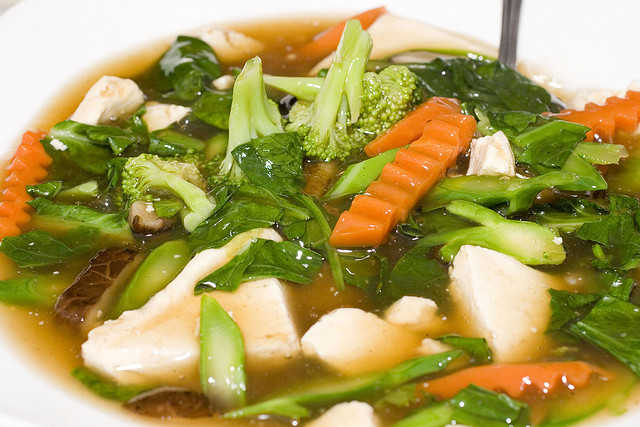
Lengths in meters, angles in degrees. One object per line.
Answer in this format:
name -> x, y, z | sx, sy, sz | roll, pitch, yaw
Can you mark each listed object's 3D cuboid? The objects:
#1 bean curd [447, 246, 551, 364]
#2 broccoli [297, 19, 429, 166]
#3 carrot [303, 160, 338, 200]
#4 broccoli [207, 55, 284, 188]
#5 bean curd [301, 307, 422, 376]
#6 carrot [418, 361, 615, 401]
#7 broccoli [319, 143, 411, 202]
bean curd -> 0.735, 0.400, 2.284 | 0.488, 0.195, 0.330 | -23, 18, 19
broccoli -> 0.092, -0.609, 2.914 | 0.598, 0.743, 0.673 | 17, 27, 42
carrot -> 0.015, -0.174, 2.699 | 0.201, 0.173, 0.174 | -4, 21, 4
broccoli -> -0.383, -0.434, 2.723 | 0.340, 0.681, 0.305 | -13, 29, -4
bean curd -> 0.167, 0.521, 2.229 | 0.330, 0.073, 0.293 | 30, 56, 27
carrot -> 0.803, 0.662, 2.122 | 0.875, 0.145, 0.185 | -10, 9, 22
broccoli -> 0.209, -0.246, 2.787 | 0.433, 0.236, 0.603 | -6, 16, -1
